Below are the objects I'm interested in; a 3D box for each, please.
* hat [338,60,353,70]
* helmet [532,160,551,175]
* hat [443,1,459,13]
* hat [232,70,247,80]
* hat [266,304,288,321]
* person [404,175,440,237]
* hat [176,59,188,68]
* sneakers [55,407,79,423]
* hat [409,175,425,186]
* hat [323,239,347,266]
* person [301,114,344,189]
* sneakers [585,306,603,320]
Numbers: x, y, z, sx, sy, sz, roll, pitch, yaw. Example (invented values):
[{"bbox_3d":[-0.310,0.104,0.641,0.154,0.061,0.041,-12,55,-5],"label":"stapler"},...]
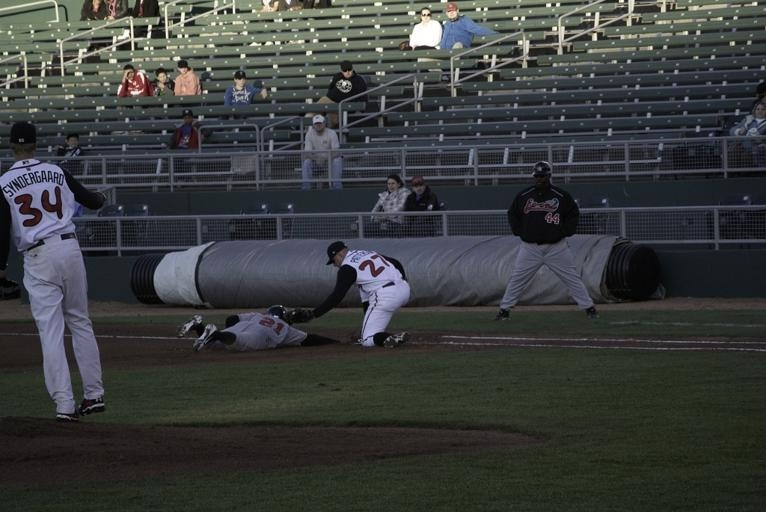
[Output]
[{"bbox_3d":[-0.842,-4.443,36.196,0.344,0.169,0.388,0,2,10],"label":"hat"},{"bbox_3d":[2.879,-1.486,27.344,0.362,0.187,0.422,-1,-7,13],"label":"helmet"},{"bbox_3d":[1.809,-6.264,39.010,0.456,0.124,0.519,1,-3,7],"label":"hat"},{"bbox_3d":[-3.453,-4.343,37.317,0.288,0.145,0.324,0,6,-21],"label":"hat"},{"bbox_3d":[-1.724,0.956,25.659,0.396,0.227,0.322,-19,-15,-4],"label":"hat"},{"bbox_3d":[0.823,-0.978,31.100,0.690,1.170,0.618,-1,5,1],"label":"person"},{"bbox_3d":[-4.937,-4.686,37.925,0.294,0.276,0.261,2,14,-11],"label":"hat"},{"bbox_3d":[-4.530,2.308,22.015,0.445,0.128,0.130,1,-1,-7],"label":"sneakers"},{"bbox_3d":[0.738,-1.485,31.114,0.227,0.206,0.267,-6,-6,-4],"label":"hat"},{"bbox_3d":[-0.728,-0.022,25.374,0.349,0.372,0.524,-1,4,0],"label":"hat"},{"bbox_3d":[-1.299,-2.229,33.402,0.897,1.607,0.864,-1,5,-2],"label":"person"},{"bbox_3d":[3.846,1.053,27.694,0.317,0.194,0.614,-2,5,6],"label":"sneakers"}]
